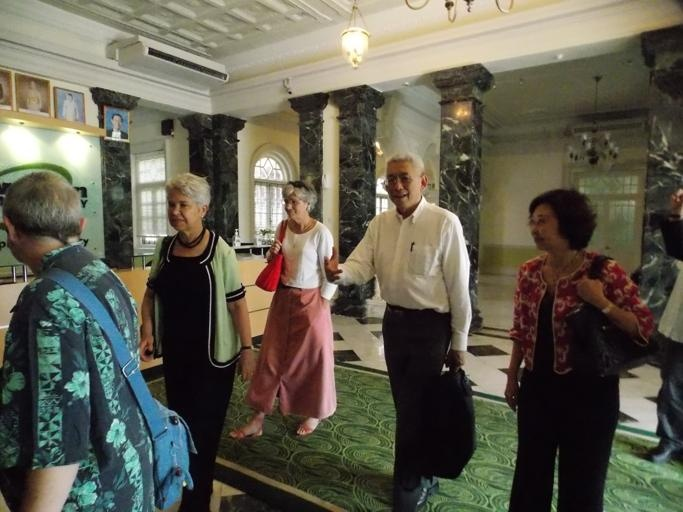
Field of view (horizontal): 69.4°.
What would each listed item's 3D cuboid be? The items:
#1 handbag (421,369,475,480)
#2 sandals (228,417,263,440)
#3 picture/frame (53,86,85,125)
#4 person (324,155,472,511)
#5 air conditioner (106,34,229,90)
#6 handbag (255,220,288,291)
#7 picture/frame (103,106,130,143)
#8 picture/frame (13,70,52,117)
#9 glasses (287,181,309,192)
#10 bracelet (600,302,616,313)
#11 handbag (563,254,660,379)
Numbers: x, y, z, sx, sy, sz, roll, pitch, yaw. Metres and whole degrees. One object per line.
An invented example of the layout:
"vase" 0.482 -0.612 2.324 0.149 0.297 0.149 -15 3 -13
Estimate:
"handbag" 0.596 0.935 2.747 0.286 0.622 0.193 3 9 17
"sandals" -0.734 1.321 3.785 0.236 0.231 0.081 20 -8 -18
"picture/frame" -3.800 -2.114 6.909 0.086 0.436 0.461 4 9 24
"person" 0.411 0.451 3.018 0.517 2.095 0.706 -4 9 -28
"air conditioner" -2.613 -2.976 7.522 0.921 0.476 1.538 6 10 34
"handbag" -0.499 -0.004 3.686 0.158 0.513 0.375 3 9 19
"picture/frame" -3.401 -1.980 7.400 0.067 0.492 0.533 0 10 21
"picture/frame" -4.046 -2.121 6.495 0.090 0.500 0.464 6 10 35
"glasses" -0.325 -0.515 3.645 0.169 0.083 0.235 1 0 -7
"bracelet" 1.223 0.241 2.281 0.024 0.047 0.045 43 -26 -23
"handbag" 1.249 0.242 2.347 0.387 0.555 0.205 -20 18 -25
